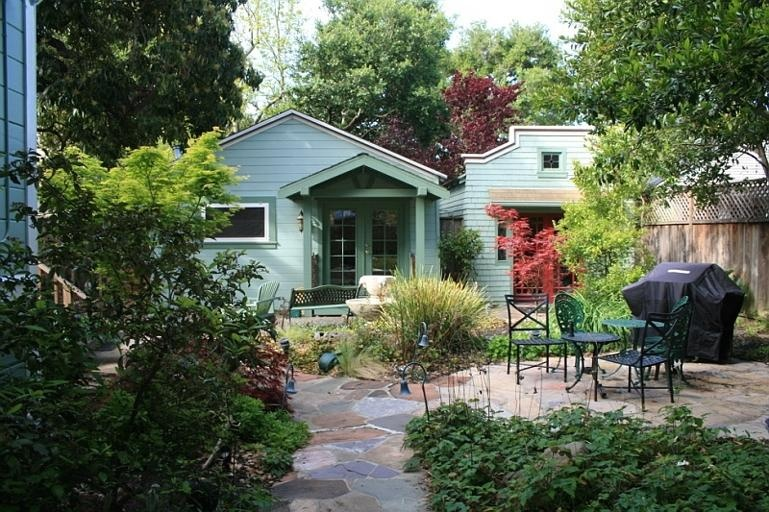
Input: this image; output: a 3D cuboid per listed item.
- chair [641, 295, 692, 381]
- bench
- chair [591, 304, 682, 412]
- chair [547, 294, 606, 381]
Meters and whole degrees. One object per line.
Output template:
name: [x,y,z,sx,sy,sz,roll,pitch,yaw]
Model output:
chair: [3.581,1.052,8.515,0.791,0.926,0.760,-1,-4,27]
bench: [-1.163,0.838,13.087,1.366,0.582,0.334,-4,8,27]
chair: [3.188,1.170,8.268,0.904,1.142,0.808,1,1,42]
chair: [2.777,1.027,9.143,0.769,1.141,0.866,-7,6,-37]
